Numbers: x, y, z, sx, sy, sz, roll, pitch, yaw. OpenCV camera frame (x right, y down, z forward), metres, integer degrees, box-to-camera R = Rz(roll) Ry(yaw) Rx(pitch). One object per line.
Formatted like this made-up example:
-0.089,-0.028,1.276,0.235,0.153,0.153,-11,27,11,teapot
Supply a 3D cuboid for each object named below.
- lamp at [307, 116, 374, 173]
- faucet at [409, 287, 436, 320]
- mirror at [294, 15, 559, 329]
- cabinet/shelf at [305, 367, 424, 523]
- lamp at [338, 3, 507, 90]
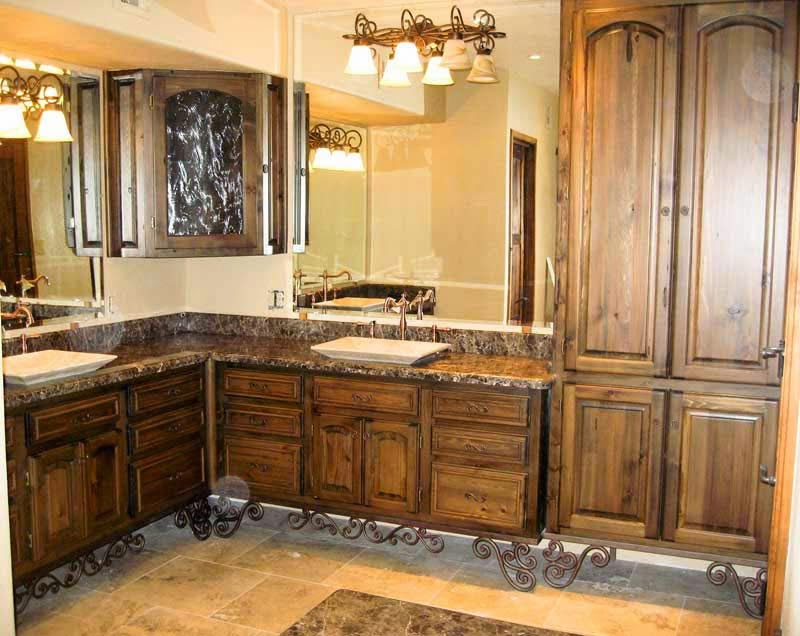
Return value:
-0.316,-1.070,4.068,0.492,0.323,0.201,10,12,28,lamp
0.144,-0.091,3.958,0.187,0.199,0.093,2,3,22,faucet
0.211,-0.917,3.814,1.792,1.689,0.999,3,5,20,mirror
-0.172,0.665,3.490,0.866,0.866,0.456,0,0,21,cabinet/shelf
0.123,-1.540,3.572,0.921,0.485,0.663,2,8,8,lamp
